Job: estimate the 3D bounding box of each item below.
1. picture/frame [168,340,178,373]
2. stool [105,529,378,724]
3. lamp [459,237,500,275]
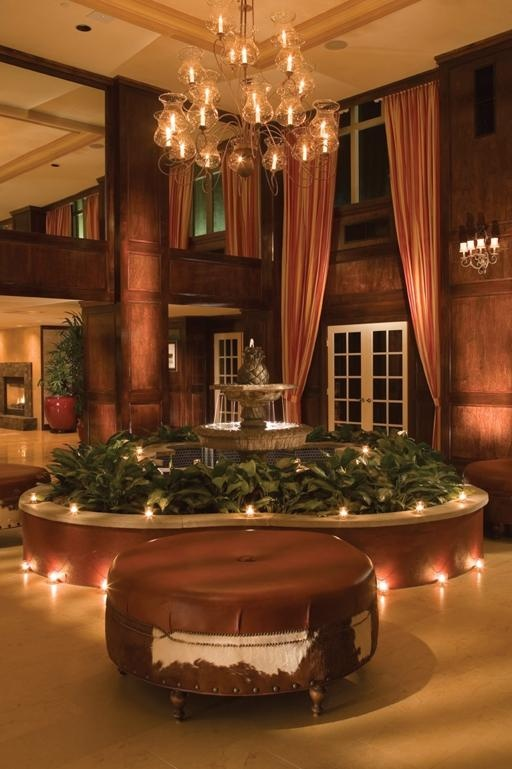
[{"bbox_3d":[-1.650,-0.541,11.834,0.032,0.595,0.312,1,-4,-34],"label":"picture/frame"},{"bbox_3d":[-0.057,0.860,2.123,0.863,0.472,0.894,3,-3,-10],"label":"stool"},{"bbox_3d":[2.407,-1.370,6.221,0.260,0.497,0.404,1,-1,-43],"label":"lamp"}]
